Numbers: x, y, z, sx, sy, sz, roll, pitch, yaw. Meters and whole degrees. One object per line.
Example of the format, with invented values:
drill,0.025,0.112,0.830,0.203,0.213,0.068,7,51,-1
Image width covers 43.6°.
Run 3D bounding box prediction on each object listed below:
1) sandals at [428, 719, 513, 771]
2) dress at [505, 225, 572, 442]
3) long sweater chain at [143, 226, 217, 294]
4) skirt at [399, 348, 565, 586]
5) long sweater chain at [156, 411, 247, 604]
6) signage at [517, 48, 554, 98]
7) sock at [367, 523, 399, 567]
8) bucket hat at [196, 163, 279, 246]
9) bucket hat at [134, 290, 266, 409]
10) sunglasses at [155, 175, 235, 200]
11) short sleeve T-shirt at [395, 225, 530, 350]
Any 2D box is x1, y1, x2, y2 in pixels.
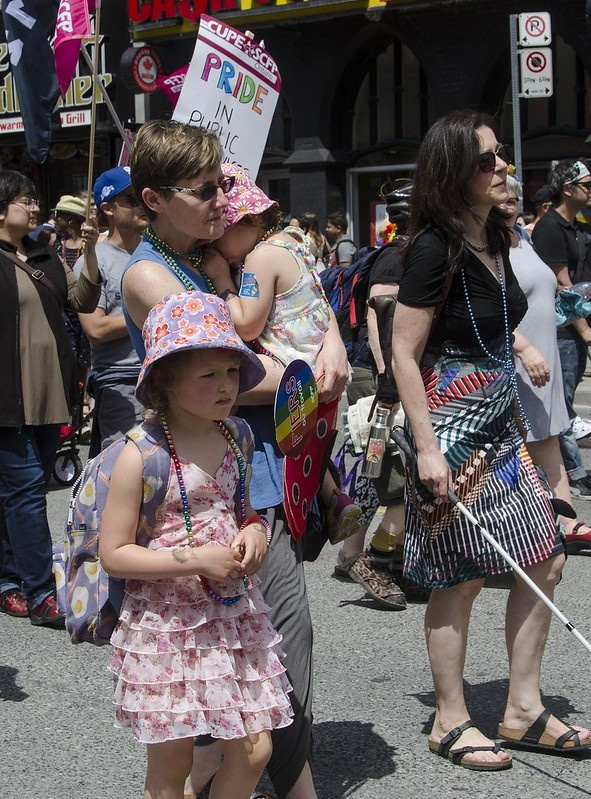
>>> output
sandals,0.553,1.086,2.352,0.235,0.094,0.117,2,9,38
dress,1.226,-0.377,3.880,0.252,0.836,0.430,2,11,36
long sweater chain,-0.301,-0.298,1.681,0.183,0.047,0.140,43,27,6
skirt,0.548,0.076,2.281,0.507,0.958,0.335,-17,21,-24
long sweater chain,-0.167,0.215,1.381,0.200,0.324,0.026,-3,-11,-44
signage,2.708,-3.701,8.342,0.343,0.634,0.354,-2,1,14
sock,0.485,0.817,4.132,0.179,0.202,0.217,3,-2,3
bucket hat,-0.136,-0.491,1.769,0.112,0.169,0.154,38,-21,-1
bucket hat,-0.195,-0.127,1.436,0.245,0.151,0.251,-8,-31,-13
sunglasses,-0.203,-0.450,1.583,0.125,0.036,0.117,6,17,22
short sleeve T-shirt,0.571,-0.369,2.242,0.358,0.297,0.197,-12,7,-19
